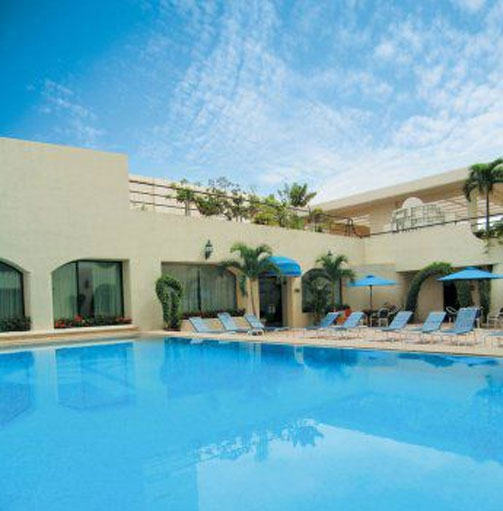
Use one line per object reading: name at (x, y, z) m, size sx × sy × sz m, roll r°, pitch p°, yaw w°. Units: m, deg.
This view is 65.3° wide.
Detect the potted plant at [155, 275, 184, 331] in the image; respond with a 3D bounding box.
potted plant at (-3.573, 2.071, 17.014) m, size 1.053 × 2.340 × 0.712 m, roll 0°, pitch -4°, yaw -15°

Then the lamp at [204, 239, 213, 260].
lamp at (-2.045, -0.293, 19.169) m, size 0.464 × 1.028 × 0.522 m, roll 1°, pitch -4°, yaw -20°
